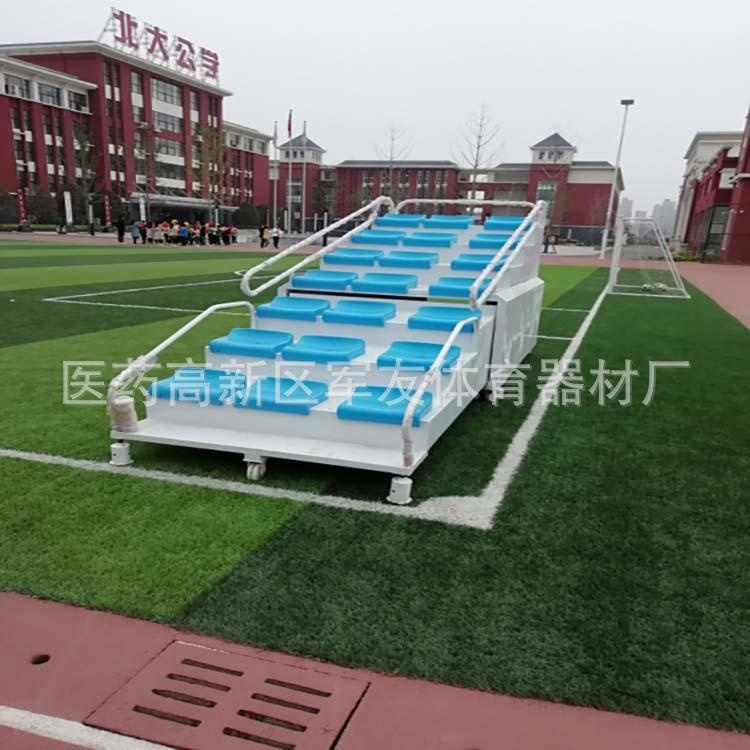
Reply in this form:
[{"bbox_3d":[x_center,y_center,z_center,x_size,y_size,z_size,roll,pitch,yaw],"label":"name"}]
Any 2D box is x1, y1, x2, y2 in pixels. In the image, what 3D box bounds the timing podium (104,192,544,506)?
[{"bbox_3d":[-0.412,-0.861,6.882,3.818,2.373,5.726,5,14,16],"label":"timing podium"}]
